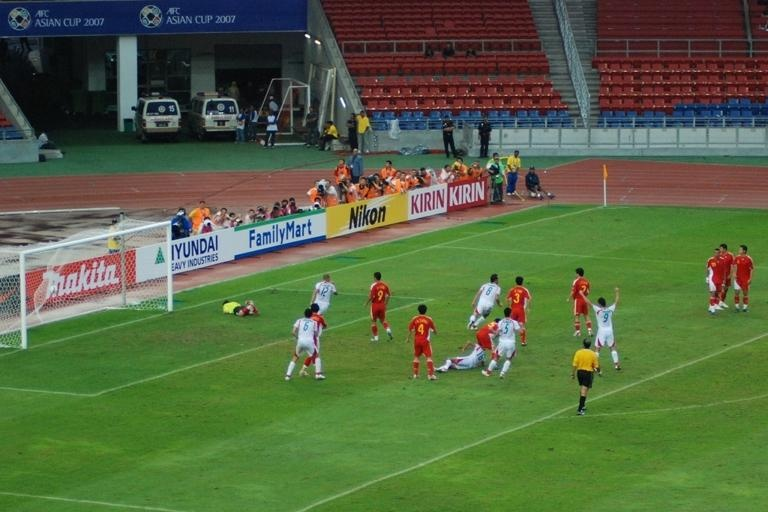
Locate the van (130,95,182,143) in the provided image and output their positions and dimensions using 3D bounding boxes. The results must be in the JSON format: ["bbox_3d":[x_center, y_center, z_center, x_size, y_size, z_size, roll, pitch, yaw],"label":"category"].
[{"bbox_3d":[-12.470,-7.755,77.524,2.182,1.484,2.878,-4,16,-17],"label":"van"}]

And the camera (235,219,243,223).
[{"bbox_3d":[-5.936,-1.390,57.709,0.220,0.068,0.199,6,13,13],"label":"camera"}]

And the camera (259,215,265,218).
[{"bbox_3d":[-4.927,-1.526,57.076,0.247,0.206,0.152,-3,6,-13],"label":"camera"}]

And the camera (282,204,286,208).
[{"bbox_3d":[-4.111,-1.996,57.638,0.239,0.156,0.075,-6,7,-40],"label":"camera"}]

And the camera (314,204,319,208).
[{"bbox_3d":[-2.846,-2.016,58.831,0.157,0.161,0.173,-4,31,0],"label":"camera"}]

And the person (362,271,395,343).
[{"bbox_3d":[-0.106,1.707,46.845,1.175,2.241,1.007,0,0,26],"label":"person"}]

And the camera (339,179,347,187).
[{"bbox_3d":[-1.782,-3.017,59.826,0.385,0.182,0.347,1,10,-14],"label":"camera"}]

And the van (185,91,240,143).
[{"bbox_3d":[-9.375,-7.727,78.413,2.564,2.554,2.985,-3,5,-7],"label":"van"}]
